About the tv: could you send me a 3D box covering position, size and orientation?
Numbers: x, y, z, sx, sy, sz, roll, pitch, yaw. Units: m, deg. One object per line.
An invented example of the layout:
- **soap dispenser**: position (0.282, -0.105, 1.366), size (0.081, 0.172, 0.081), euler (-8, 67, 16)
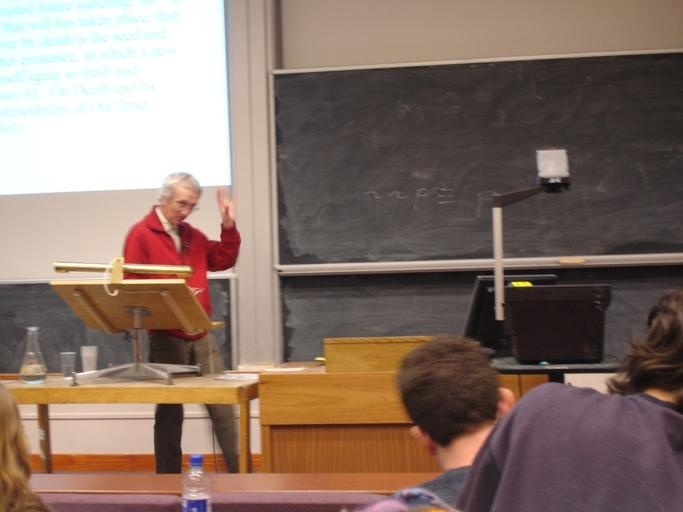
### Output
- **tv**: position (0.671, 0.215, 3.201), size (0.458, 0.364, 0.345), euler (1, 2, 2)

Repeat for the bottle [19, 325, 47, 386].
- **bottle**: position (-1.411, 0.448, 3.366), size (0.106, 0.246, 0.188), euler (-5, 7, -24)
